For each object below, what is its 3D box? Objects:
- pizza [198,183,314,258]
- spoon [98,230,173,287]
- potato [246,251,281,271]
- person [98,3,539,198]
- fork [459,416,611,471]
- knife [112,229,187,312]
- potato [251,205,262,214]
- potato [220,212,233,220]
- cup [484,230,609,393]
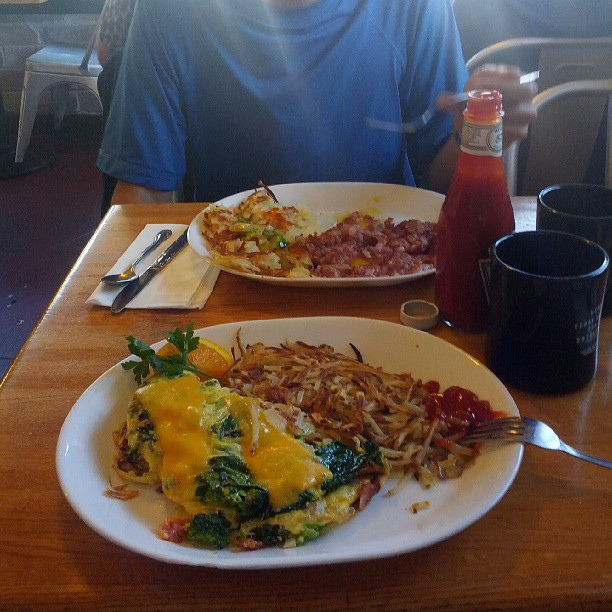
[{"bbox_3d":[-0.158,-0.236,1.653,0.222,0.099,0.233,-27,49,-22],"label":"pizza"},{"bbox_3d":[-0.433,-0.139,1.539,0.054,0.054,0.338,8,37,17],"label":"spoon"},{"bbox_3d":[-0.110,-0.122,1.556,0.052,0.020,0.060,15,42,9],"label":"potato"},{"bbox_3d":[-0.075,-0.774,2.295,1.449,0.725,0.414,-6,29,-11],"label":"person"},{"bbox_3d":[0.350,0.216,0.893,0.257,0.039,0.036,8,44,23],"label":"fork"},{"bbox_3d":[-0.403,-0.121,1.516,0.042,0.045,0.402,7,37,7],"label":"knife"},{"bbox_3d":[-0.146,-0.282,1.687,0.032,0.011,0.032,-19,38,-28],"label":"potato"},{"bbox_3d":[-0.231,-0.267,1.688,0.016,0.017,0.047,12,19,-6],"label":"potato"},{"bbox_3d":[0.405,-0.009,1.068,0.165,0.228,0.286,-1,32,8],"label":"cup"}]
